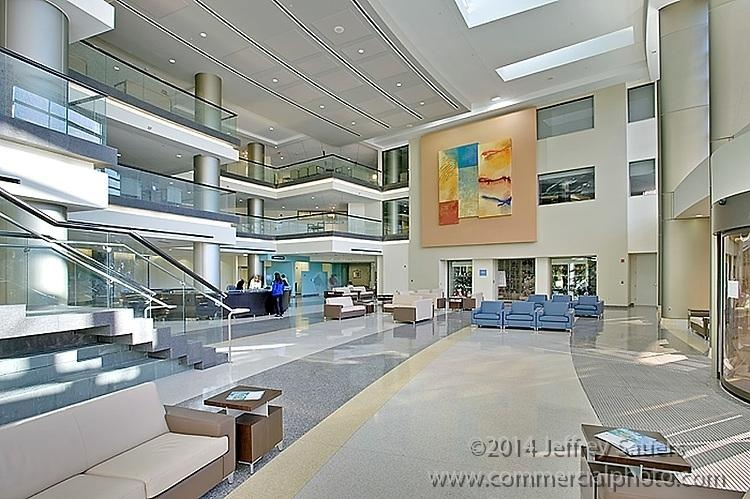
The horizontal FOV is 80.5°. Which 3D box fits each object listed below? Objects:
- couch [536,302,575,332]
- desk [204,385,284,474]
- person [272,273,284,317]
[{"bbox_3d":[5.822,2.225,14.392,1.069,0.942,0.496,2,6,22],"label":"couch"},{"bbox_3d":[-2.045,2.716,6.677,0.979,0.896,1.004,-8,-6,15],"label":"desk"},{"bbox_3d":[-4.119,1.973,18.908,0.482,1.681,0.691,-2,6,-15],"label":"person"}]
